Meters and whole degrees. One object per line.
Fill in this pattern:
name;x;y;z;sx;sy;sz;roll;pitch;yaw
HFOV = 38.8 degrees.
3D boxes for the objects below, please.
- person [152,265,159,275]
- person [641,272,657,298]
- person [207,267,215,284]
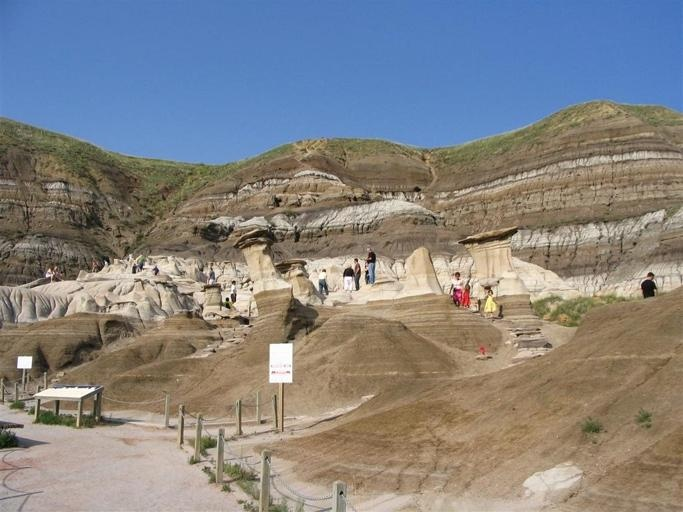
person;-13.627;1.102;71.188;0.550;0.467;0.712;-7;-31;-19
person;13.543;1.334;42.772;0.562;1.298;2.757;-6;-8;17
person;-9.957;1.588;74.066;0.540;1.576;0.529;2;-29;-9
